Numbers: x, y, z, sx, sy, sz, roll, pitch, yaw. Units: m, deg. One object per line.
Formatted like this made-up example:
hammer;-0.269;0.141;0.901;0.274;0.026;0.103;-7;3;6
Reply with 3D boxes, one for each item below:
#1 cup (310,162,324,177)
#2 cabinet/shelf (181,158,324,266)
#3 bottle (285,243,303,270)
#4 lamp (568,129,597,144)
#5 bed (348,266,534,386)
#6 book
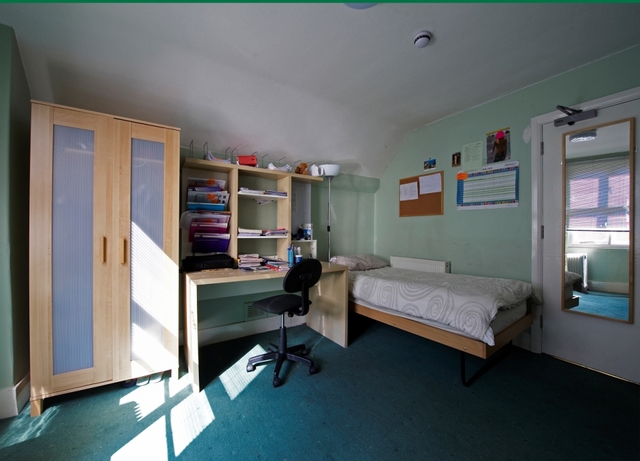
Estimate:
cup;-0.045;-0.675;4.943;0.168;0.234;0.126;1;-2;-19
cabinet/shelf;-0.751;-0.192;4.525;1.173;0.743;0.235;1;0;-36
bottle;-0.270;0.277;4.568;0.183;0.311;0.245;0;0;15
lamp;2.438;-0.865;4.038;0.096;0.046;0.137;1;-6;-17
bed;1.372;0.687;4.165;1.140;0.474;1.093;4;6;45
book;-0.878;-0.051;4.406;0.967;0.967;0.284;0;-1;-34
